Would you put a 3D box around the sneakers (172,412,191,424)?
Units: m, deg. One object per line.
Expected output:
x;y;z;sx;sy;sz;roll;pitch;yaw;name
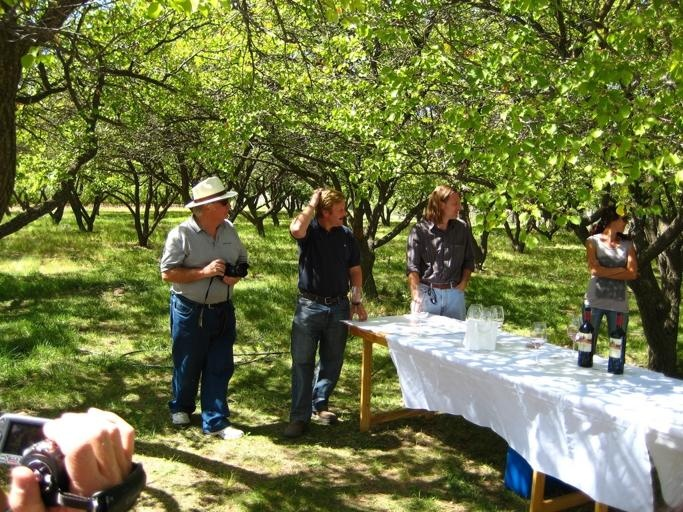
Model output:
-1.612;1.634;6.220;0.130;0.097;0.131;1;-5;-8;sneakers

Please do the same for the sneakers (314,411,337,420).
-0.163;1.683;6.536;0.227;0.109;0.108;-8;-8;40;sneakers

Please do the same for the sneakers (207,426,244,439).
-1.111;1.717;6.008;0.333;0.151;0.142;-3;3;6;sneakers

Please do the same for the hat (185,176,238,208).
-1.259;-0.612;5.998;0.411;0.323;0.483;1;8;-15;hat

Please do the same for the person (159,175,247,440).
-1.342;0.489;6.075;0.818;2.533;0.700;2;8;-11;person

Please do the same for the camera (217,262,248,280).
-1.021;0.125;6.033;0.215;0.158;0.224;3;8;-5;camera

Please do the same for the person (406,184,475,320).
1.059;-0.023;6.520;0.714;1.438;0.718;3;8;2;person

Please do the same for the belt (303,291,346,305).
-0.180;0.427;6.239;0.456;0.122;0.124;3;8;-5;belt
